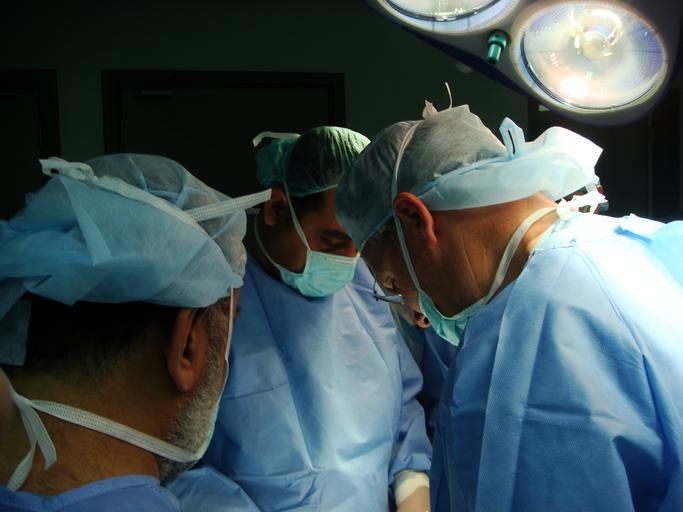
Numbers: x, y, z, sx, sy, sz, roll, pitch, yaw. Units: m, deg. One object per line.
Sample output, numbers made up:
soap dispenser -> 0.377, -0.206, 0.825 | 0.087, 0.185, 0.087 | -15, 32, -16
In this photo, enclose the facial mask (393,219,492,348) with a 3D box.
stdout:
facial mask -> 0.261, 0.101, 1.726 | 0.164, 0.353, 0.224 | -3, 15, -17
